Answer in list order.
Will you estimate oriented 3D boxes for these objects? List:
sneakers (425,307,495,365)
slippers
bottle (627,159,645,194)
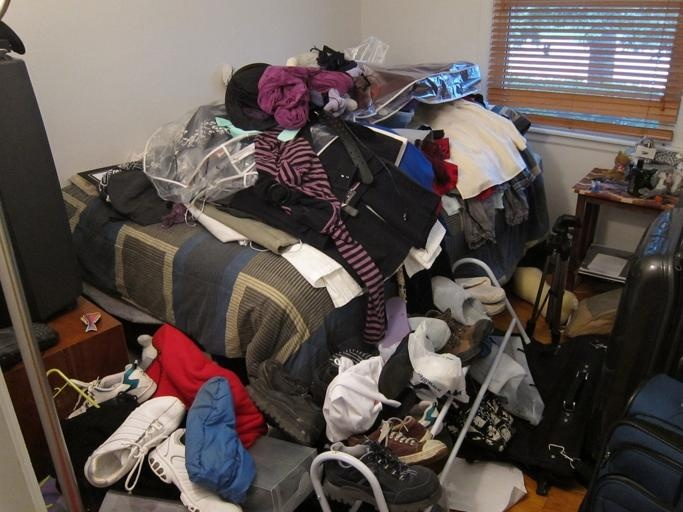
[{"bbox_3d":[0.476,0.333,2.118,0.273,0.162,0.286,12,27,18],"label":"sneakers"},{"bbox_3d":[0.550,0.205,2.304,0.236,0.102,0.306,-18,25,-38],"label":"slippers"},{"bbox_3d":[1.593,-0.430,2.753,0.059,0.187,0.082,8,25,11],"label":"bottle"}]
